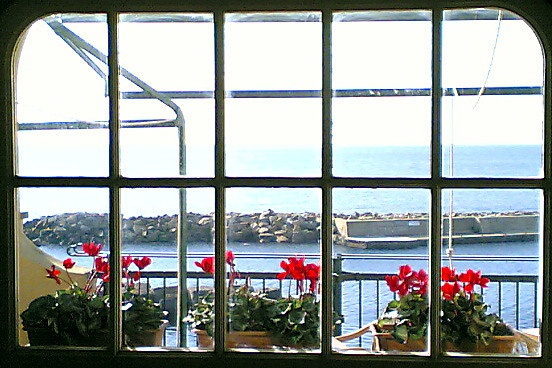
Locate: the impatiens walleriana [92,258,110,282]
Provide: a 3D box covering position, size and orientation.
[{"bbox_3d":[-0.714,0.347,5.302,0.063,0.081,0.093,-5,22,-2],"label":"impatiens walleriana"}]

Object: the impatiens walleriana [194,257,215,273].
[{"bbox_3d":[-0.295,0.323,5.249,0.069,0.037,0.069,-10,-6,32],"label":"impatiens walleriana"}]

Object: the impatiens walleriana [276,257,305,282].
[{"bbox_3d":[0.062,0.340,5.284,0.101,0.092,0.053,10,12,26],"label":"impatiens walleriana"}]

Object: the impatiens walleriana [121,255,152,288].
[{"bbox_3d":[-0.589,0.349,5.332,0.139,0.122,0.127,1,6,-42],"label":"impatiens walleriana"}]

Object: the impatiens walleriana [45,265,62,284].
[{"bbox_3d":[-0.928,0.368,5.360,0.038,0.049,0.079,-36,-59,19],"label":"impatiens walleriana"}]

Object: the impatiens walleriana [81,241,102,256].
[{"bbox_3d":[-0.761,0.260,5.299,0.064,0.035,0.060,-8,-13,21],"label":"impatiens walleriana"}]
